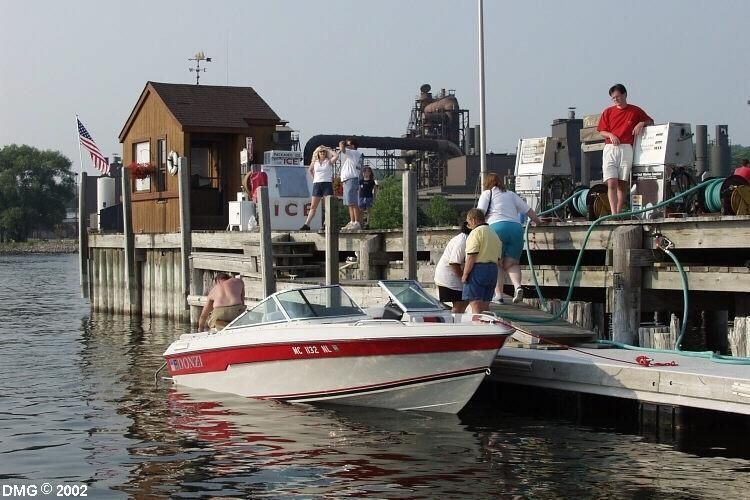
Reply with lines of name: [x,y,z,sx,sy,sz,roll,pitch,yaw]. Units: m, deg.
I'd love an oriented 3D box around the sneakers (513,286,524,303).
sneakers: [2.795,0.856,28.187,0.157,0.170,0.403,0,-31,2]

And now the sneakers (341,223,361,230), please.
sneakers: [-0.481,-0.548,33.069,0.479,0.174,0.154,1,1,-11]

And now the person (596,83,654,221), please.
person: [5.081,-2.014,29.696,0.967,2.582,1.179,-1,-2,9]

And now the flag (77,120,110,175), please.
flag: [-8.604,-3.178,44.219,0.768,2.647,0.307,-8,44,-2]
